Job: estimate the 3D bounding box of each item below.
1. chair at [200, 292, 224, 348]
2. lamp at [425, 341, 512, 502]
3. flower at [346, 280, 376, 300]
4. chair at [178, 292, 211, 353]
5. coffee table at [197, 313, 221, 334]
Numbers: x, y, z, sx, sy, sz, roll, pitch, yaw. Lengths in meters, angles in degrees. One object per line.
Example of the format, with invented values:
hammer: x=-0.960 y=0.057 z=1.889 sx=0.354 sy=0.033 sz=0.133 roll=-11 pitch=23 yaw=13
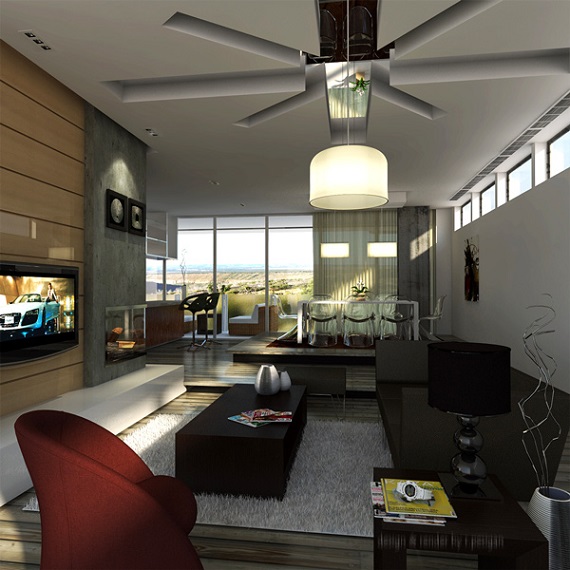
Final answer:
chair: x=-1.331 y=0.567 z=7.773 sx=0.413 sy=0.933 sz=0.426 roll=-1 pitch=2 yaw=-41
lamp: x=0.750 y=0.530 z=1.858 sx=0.304 sy=0.617 sz=0.337 roll=0 pitch=2 yaw=24
flower: x=1.414 y=0.127 z=8.349 sx=0.354 sy=0.339 sz=0.424 roll=-1 pitch=0 yaw=7
chair: x=-1.538 y=0.587 z=7.601 sx=0.452 sy=0.975 sz=0.451 roll=-3 pitch=7 yaw=-27
coffee table: x=-1.434 y=0.763 z=8.563 sx=0.351 sy=0.416 sz=0.380 roll=1 pitch=2 yaw=9
